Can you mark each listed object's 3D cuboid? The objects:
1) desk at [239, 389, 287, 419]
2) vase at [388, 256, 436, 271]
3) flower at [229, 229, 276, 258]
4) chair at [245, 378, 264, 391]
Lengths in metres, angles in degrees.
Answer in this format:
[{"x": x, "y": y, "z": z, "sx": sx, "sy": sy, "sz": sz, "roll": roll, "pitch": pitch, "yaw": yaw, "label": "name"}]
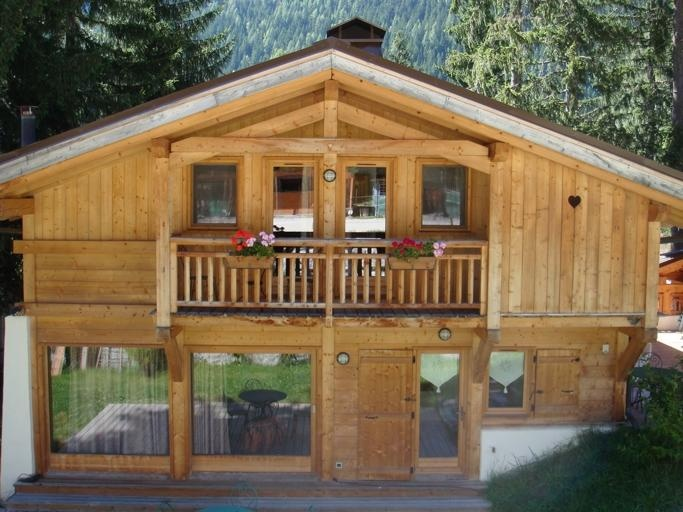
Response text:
[{"x": -1.983, "y": 3.742, "z": 29.731, "sx": 1.101, "sy": 0.692, "sz": 0.249, "roll": 1, "pitch": -4, "yaw": -8, "label": "desk"}, {"x": 1.717, "y": 0.191, "z": 28.318, "sx": 1.168, "sy": 0.318, "sz": 0.254, "roll": 0, "pitch": -4, "yaw": 3, "label": "vase"}, {"x": -2.114, "y": -0.271, "z": 28.260, "sx": 1.057, "sy": 0.651, "sz": 0.403, "roll": 1, "pitch": -4, "yaw": -9, "label": "flower"}, {"x": -2.180, "y": 3.218, "z": 29.745, "sx": 0.322, "sy": 0.225, "sz": 0.306, "roll": 5, "pitch": 1, "yaw": -44, "label": "chair"}]
